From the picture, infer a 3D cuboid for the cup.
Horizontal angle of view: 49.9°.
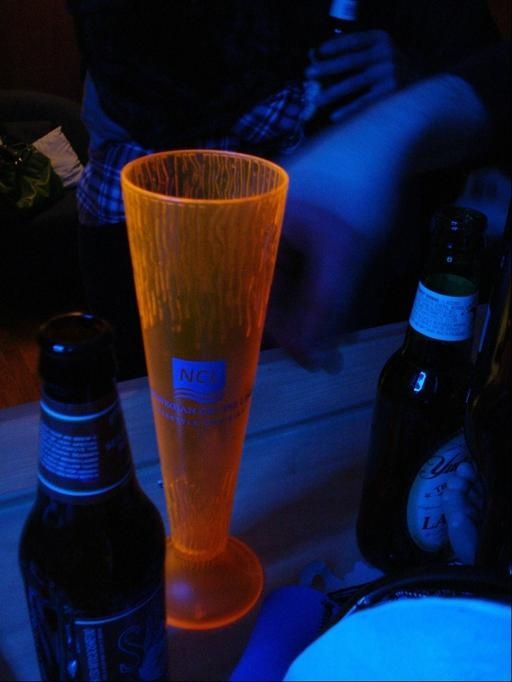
[{"bbox_3d":[-0.033,0.043,0.340,0.093,0.275,0.090,3,25,-1],"label":"cup"}]
